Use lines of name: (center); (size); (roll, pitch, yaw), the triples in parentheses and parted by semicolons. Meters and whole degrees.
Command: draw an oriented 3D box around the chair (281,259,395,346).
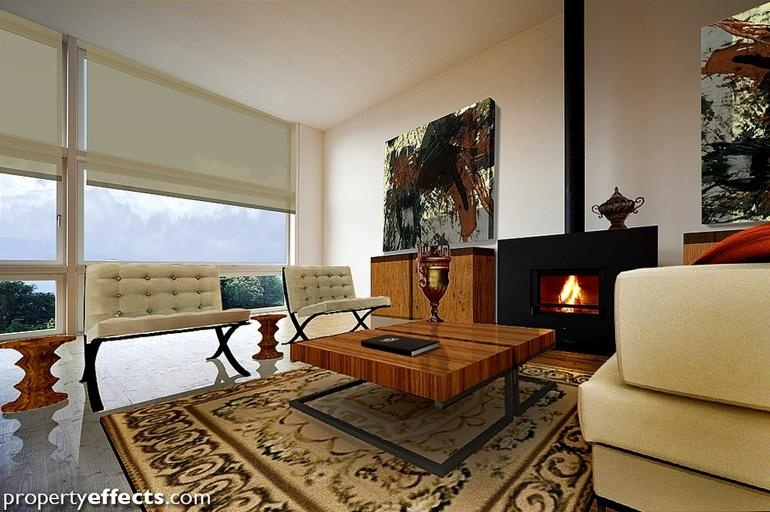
chair: (-0.515, 0.553, 4.775); (0.647, 0.796, 1.137); (1, 0, 31)

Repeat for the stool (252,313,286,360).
stool: (-1.141, 0.792, 4.079); (0.381, 0.427, 0.389); (-1, 0, 4)

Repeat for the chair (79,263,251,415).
chair: (-1.751, 0.564, 3.478); (0.678, 0.941, 1.087); (0, -1, 42)
